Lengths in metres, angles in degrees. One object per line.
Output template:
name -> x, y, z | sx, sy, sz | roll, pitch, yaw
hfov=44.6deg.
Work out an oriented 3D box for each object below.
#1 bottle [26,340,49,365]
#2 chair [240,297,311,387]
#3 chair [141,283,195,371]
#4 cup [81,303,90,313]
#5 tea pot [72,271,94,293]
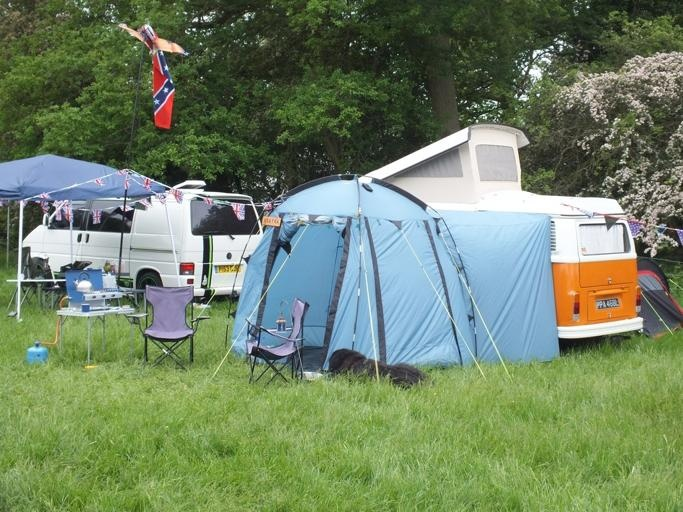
bottle -> -4.630, 1.464, 12.724 | 0.296, 0.398, 0.318 | 0, -2, 0
chair -> -0.943, 1.318, 12.273 | 0.803, 1.328, 0.784 | -1, 10, -16
chair -> -2.653, 1.068, 12.988 | 0.793, 1.355, 0.843 | 0, -1, 6
cup -> -3.892, 0.784, 12.693 | 0.099, 0.111, 0.108 | 2, 4, 0
tea pot -> -3.991, 0.407, 12.875 | 0.205, 0.322, 0.301 | 1, -3, -17
